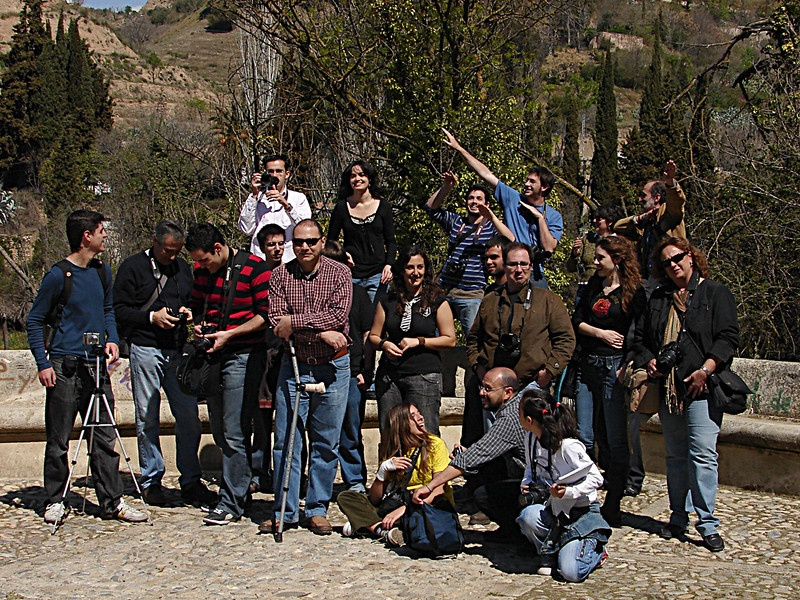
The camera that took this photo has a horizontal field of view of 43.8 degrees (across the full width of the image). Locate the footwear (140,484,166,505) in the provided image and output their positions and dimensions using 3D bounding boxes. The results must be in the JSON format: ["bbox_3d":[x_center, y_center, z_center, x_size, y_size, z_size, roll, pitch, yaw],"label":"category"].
[{"bbox_3d":[-2.544,1.991,10.270,0.175,0.125,0.221,-3,36,-31],"label":"footwear"}]

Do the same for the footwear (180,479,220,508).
[{"bbox_3d":[-2.078,1.995,10.350,0.449,0.318,0.220,4,2,5],"label":"footwear"}]

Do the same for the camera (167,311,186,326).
[{"bbox_3d":[-2.262,0.174,10.171,0.089,0.144,0.141,-10,15,-25],"label":"camera"}]

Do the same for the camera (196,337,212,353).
[{"bbox_3d":[-1.905,0.440,9.795,0.128,0.145,0.061,0,4,-13],"label":"camera"}]

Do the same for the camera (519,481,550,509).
[{"bbox_3d":[1.236,1.784,9.189,0.211,0.174,0.279,-5,-4,-33],"label":"camera"}]

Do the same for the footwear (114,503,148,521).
[{"bbox_3d":[-2.657,2.107,9.862,0.342,0.156,0.161,8,8,9],"label":"footwear"}]

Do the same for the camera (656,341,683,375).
[{"bbox_3d":[2.522,0.505,9.350,0.242,0.152,0.271,16,54,44],"label":"camera"}]

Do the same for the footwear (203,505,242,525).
[{"bbox_3d":[-1.739,2.111,9.836,0.375,0.163,0.143,10,-8,-27],"label":"footwear"}]

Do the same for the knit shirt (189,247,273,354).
[{"bbox_3d":[-1.663,0.006,9.922,0.991,1.113,0.618,0,-6,27],"label":"knit shirt"}]

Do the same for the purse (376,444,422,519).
[{"bbox_3d":[0.004,1.748,9.579,0.386,0.669,0.258,27,6,6],"label":"purse"}]

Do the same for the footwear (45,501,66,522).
[{"bbox_3d":[-3.361,2.072,9.724,0.182,0.203,0.205,0,4,-20],"label":"footwear"}]

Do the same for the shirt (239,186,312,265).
[{"bbox_3d":[-1.399,-0.834,11.084,0.637,0.840,0.584,0,-9,-8],"label":"shirt"}]
